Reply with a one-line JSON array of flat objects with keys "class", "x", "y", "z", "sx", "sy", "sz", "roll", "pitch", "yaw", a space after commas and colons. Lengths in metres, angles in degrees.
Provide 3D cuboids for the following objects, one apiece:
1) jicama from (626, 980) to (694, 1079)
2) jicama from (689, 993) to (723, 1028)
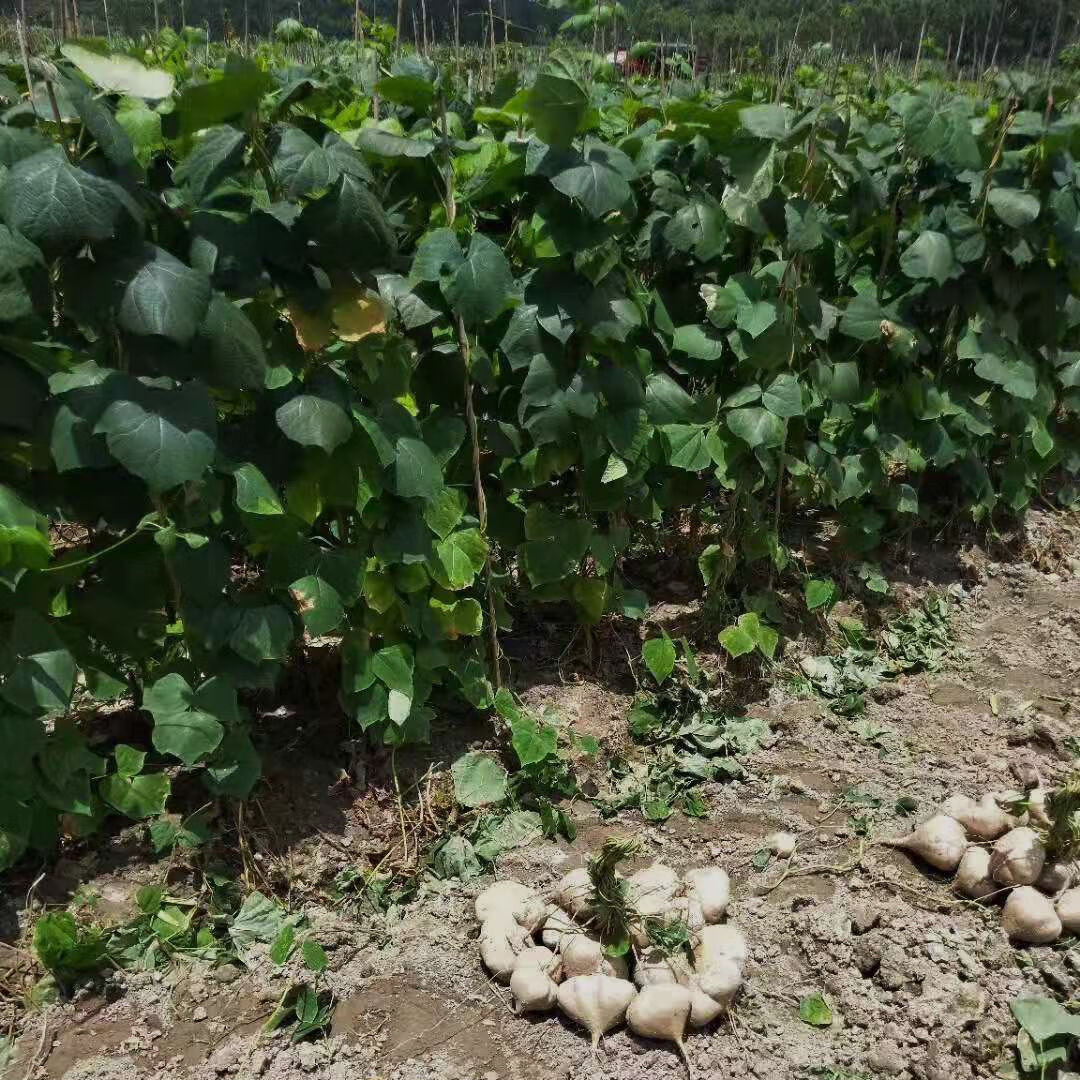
[{"class": "jicama", "x": 0.259, "y": 1.052, "z": 2.073, "sx": 0.111, "sy": 0.081, "sz": 0.207, "roll": 1, "pitch": 31, "yaw": -38}, {"class": "jicama", "x": 0.373, "y": 1.056, "z": 2.108, "sx": 0.094, "sy": 0.101, "sz": 0.036, "roll": -3, "pitch": 27, "yaw": -7}]
